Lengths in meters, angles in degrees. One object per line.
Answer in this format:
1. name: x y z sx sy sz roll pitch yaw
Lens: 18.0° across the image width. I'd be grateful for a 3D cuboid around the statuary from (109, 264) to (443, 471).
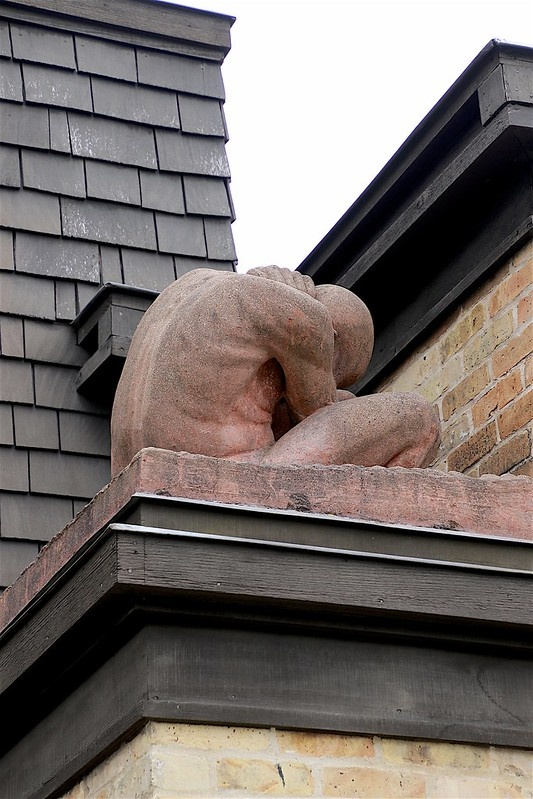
1. statuary: -0.010 -0.043 4.889 0.699 0.593 0.706 -4 4 -28
